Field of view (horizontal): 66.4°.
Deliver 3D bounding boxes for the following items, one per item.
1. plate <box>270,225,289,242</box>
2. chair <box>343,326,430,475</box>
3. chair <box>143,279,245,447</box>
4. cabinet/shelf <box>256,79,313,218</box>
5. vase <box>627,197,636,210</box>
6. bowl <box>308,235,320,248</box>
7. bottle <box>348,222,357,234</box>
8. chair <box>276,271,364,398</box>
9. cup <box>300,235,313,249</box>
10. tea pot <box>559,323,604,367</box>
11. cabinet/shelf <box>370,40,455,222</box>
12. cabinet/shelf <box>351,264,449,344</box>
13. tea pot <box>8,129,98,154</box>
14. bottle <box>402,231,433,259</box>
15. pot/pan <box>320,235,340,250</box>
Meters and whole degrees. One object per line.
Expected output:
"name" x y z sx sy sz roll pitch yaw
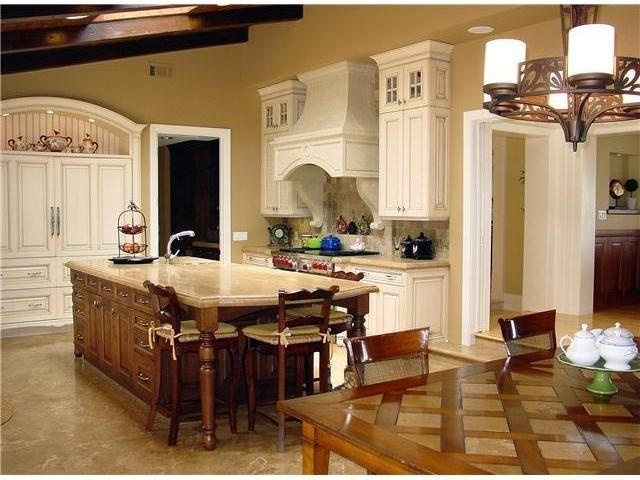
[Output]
"plate" -0.668 -0.105 7.989 0.320 0.284 0.129 -1 9 -6
"chair" 0.337 0.622 2.198 0.338 0.551 0.342 -1 4 -31
"chair" -0.958 0.835 3.594 0.675 1.123 0.723 -3 9 -21
"cabinet/shelf" -0.511 -1.337 7.643 0.534 1.997 0.974 -5 10 -32
"vase" 4.984 -0.594 7.795 0.123 0.174 0.401 5 9 32
"bowl" -0.090 0.023 6.827 0.158 0.121 0.156 3 3 0
"bottle" 0.451 -0.170 6.759 0.045 0.184 0.168 -8 11 -39
"chair" 0.014 0.785 3.888 0.562 0.686 0.513 -21 -5 -13
"cup" -0.268 0.015 7.511 0.196 0.167 0.207 -1 10 0
"tea pot" 1.198 0.476 2.216 0.204 0.172 0.158 -4 -1 32
"cabinet/shelf" 1.053 -1.202 5.491 0.832 1.927 0.586 2 9 14
"cabinet/shelf" 0.909 0.732 5.786 0.672 0.970 1.059 -3 4 -31
"tea pot" -3.636 -1.354 6.685 1.128 0.340 0.379 -5 9 -31
"bottle" 1.139 0.063 5.760 0.392 0.297 0.325 6 10 39
"pot/pan" 0.143 0.041 6.569 0.223 0.149 0.201 -1 -4 4
